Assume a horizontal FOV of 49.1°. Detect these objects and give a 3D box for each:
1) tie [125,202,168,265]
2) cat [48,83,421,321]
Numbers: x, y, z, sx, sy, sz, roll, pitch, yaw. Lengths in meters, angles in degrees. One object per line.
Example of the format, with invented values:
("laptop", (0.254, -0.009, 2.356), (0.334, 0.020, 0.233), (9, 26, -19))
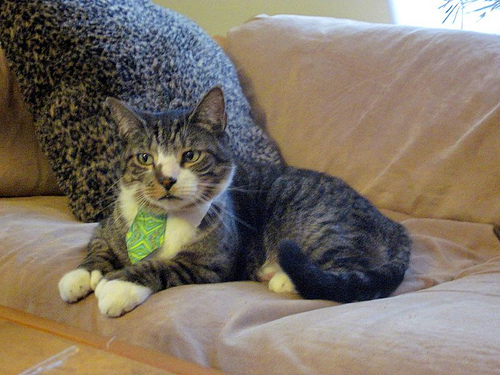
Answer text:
("tie", (-0.286, 0.123, 1.538), (0.110, 0.022, 0.245), (11, 36, -1))
("cat", (0.020, 0.090, 1.532), (0.896, 0.451, 0.608), (0, 3, -28))
